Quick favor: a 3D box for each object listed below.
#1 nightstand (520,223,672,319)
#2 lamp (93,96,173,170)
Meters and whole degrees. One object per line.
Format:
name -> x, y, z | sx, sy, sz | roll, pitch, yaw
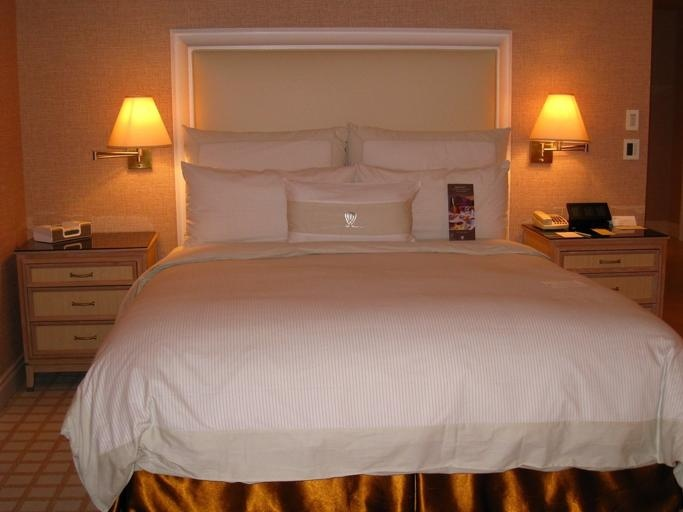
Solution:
nightstand -> 1.721, 0.033, 4.072 | 0.903, 0.771, 0.565 | 0, 10, -2
lamp -> -1.390, -0.789, 3.907 | 0.361, 0.448, 0.516 | 20, 28, 41
